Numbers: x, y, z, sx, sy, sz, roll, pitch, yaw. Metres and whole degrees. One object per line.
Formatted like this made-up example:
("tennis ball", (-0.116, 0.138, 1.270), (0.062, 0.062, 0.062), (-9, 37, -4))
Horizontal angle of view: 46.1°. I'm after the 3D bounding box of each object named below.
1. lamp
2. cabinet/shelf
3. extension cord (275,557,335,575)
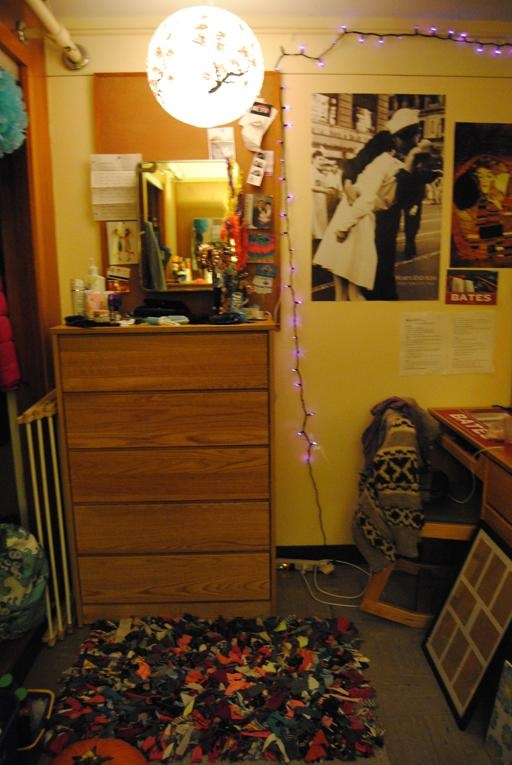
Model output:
("lamp", (-0.152, -0.991, 2.088), (0.406, 0.440, 0.396), (5, 6, 19))
("cabinet/shelf", (-0.287, 0.342, 2.502), (0.898, 1.176, 0.481), (-2, 5, 12))
("extension cord", (0.237, 0.859, 2.795), (0.275, 0.055, 0.093), (-2, 15, -2))
